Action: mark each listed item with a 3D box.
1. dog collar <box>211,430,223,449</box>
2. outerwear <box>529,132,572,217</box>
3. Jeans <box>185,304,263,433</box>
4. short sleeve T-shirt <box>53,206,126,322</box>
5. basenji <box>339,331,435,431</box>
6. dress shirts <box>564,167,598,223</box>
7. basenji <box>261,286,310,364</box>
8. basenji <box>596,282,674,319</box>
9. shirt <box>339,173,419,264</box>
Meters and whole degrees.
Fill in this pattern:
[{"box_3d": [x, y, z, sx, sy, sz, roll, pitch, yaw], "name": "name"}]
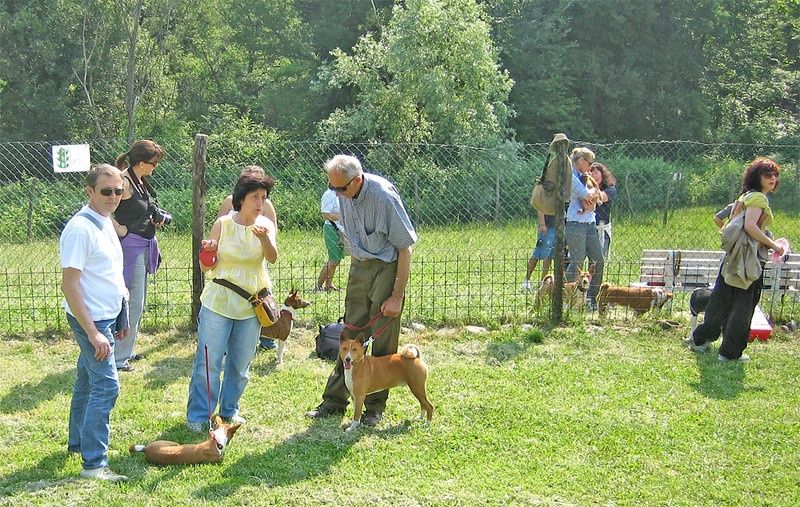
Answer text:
[{"box_3d": [-3.244, 3.337, 17.313, 0.094, 0.280, 0.197, -11, 11, -23], "name": "dog collar"}, {"box_3d": [3.289, -1.691, 20.751, 0.743, 1.741, 0.511, 6, 7, 34], "name": "outerwear"}, {"box_3d": [-3.218, 2.125, 17.955, 1.015, 0.757, 2.733, 11, 38, -8], "name": "Jeans"}, {"box_3d": [-5.455, 0.212, 17.487, 1.140, 2.089, 2.020, 2, 10, 1], "name": "short sleeve T-shirt"}, {"box_3d": [-0.376, 2.382, 18.097, 2.053, 1.682, 0.718, 3, 10, -32], "name": "basenji"}, {"box_3d": [3.957, -1.270, 21.140, 0.668, 1.200, 0.552, -1, 23, 23], "name": "dress shirts"}, {"box_3d": [-2.431, 1.496, 19.507, 1.649, 1.424, 0.472, -4, -7, 34], "name": "basenji"}, {"box_3d": [5.059, 1.004, 20.935, 1.545, 0.692, 0.292, 2, 6, 5], "name": "basenji"}, {"box_3d": [-0.577, -0.642, 17.997, 1.690, 1.544, 0.940, 10, 34, 28], "name": "shirt"}]
